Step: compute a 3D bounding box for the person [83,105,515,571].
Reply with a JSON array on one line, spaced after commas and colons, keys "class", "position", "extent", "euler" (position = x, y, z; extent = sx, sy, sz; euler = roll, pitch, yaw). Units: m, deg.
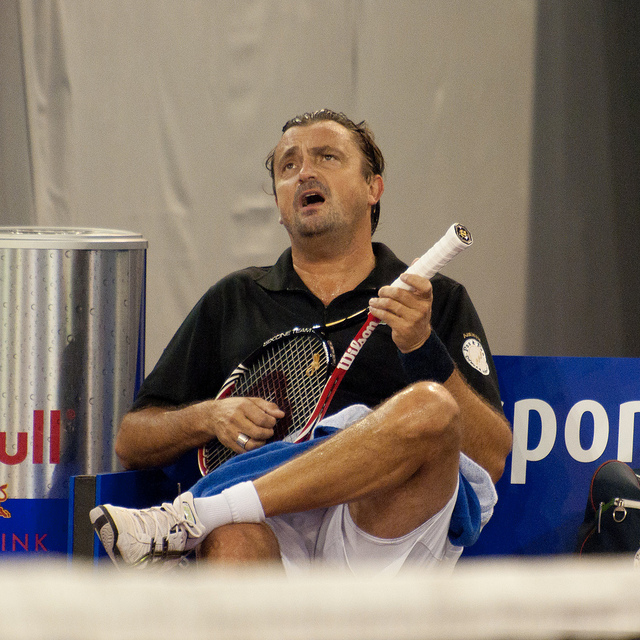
[{"class": "person", "position": [-0.028, 0.021, 2.993], "extent": [0.981, 1.097, 0.732], "euler": [-1, -1, -8]}]

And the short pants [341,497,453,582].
[{"class": "short pants", "position": [0.154, 0.449, 2.737], "extent": [0.227, 0.150, 0.070], "euler": [-1, -1, 5]}]

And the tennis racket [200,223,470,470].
[{"class": "tennis racket", "position": [0.034, 0.078, 2.990], "extent": [0.605, 0.231, 0.050], "euler": [-42, -42, 13]}]
